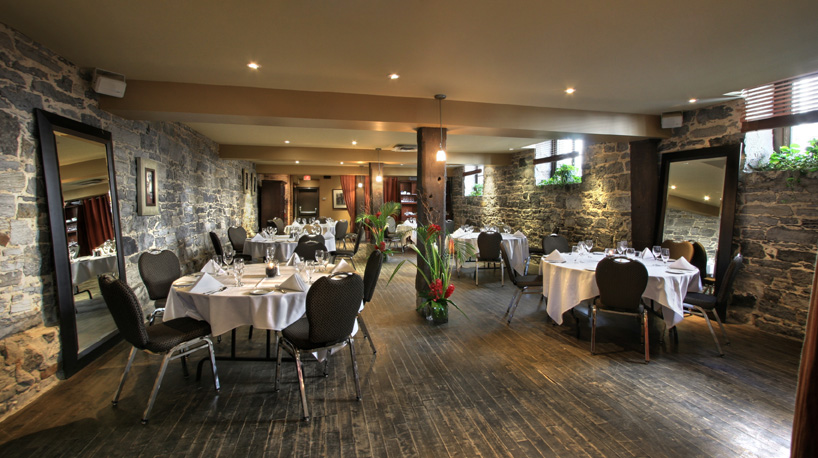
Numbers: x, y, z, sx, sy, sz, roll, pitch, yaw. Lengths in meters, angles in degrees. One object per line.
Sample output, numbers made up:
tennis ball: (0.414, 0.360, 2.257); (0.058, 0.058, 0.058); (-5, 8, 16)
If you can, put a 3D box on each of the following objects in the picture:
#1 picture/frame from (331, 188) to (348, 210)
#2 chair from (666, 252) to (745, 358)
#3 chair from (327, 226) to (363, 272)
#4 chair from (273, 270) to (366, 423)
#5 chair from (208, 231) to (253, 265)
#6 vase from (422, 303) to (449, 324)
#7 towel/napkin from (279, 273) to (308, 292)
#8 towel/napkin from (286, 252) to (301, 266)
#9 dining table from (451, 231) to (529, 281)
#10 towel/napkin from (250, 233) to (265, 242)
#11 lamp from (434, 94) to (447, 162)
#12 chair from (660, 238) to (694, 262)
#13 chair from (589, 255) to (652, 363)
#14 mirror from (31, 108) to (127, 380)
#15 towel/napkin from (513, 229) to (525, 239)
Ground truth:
picture/frame: (-2.868, -1.232, 17.906); (0.951, 0.953, 0.073); (-1, 7, -2)
chair: (4.571, 1.042, 6.677); (0.764, 1.372, 1.490); (2, 4, 37)
chair: (-1.396, 0.432, 10.536); (1.024, 1.367, 0.876); (4, -2, -14)
chair: (-1.084, 1.362, 5.317); (1.053, 1.684, 0.601); (-1, 4, -5)
chair: (-3.488, 0.369, 8.543); (0.715, 0.937, 0.612); (-2, 6, -10)
vase: (0.423, 1.347, 7.015); (0.367, 0.250, 0.351); (1, 3, 4)
towel/napkin: (-1.438, 0.644, 5.388); (0.260, 0.118, 0.260); (-1, 4, 29)
towel/napkin: (-1.735, 0.466, 6.576); (0.239, 0.196, 0.144); (3, 0, 4)
dining table: (1.708, 0.460, 9.122); (1.320, 0.578, 1.243); (1, 1, -11)
towel/napkin: (-3.123, 0.198, 9.038); (0.266, 0.116, 0.250); (1, 7, -5)
lamp: (0.498, -1.610, 7.172); (0.168, 1.024, 0.448); (0, 4, 4)
chair: (4.535, 0.400, 7.508); (0.496, 0.566, 0.462); (3, -7, -41)
chair: (2.966, 1.100, 6.162); (0.773, 1.405, 0.573); (1, 4, 25)
mirror: (-4.428, 0.183, 5.959); (0.340, 3.390, 1.000); (0, 4, 11)
towel/napkin: (2.377, 0.140, 9.384); (0.229, 0.065, 0.244); (14, 12, 36)
